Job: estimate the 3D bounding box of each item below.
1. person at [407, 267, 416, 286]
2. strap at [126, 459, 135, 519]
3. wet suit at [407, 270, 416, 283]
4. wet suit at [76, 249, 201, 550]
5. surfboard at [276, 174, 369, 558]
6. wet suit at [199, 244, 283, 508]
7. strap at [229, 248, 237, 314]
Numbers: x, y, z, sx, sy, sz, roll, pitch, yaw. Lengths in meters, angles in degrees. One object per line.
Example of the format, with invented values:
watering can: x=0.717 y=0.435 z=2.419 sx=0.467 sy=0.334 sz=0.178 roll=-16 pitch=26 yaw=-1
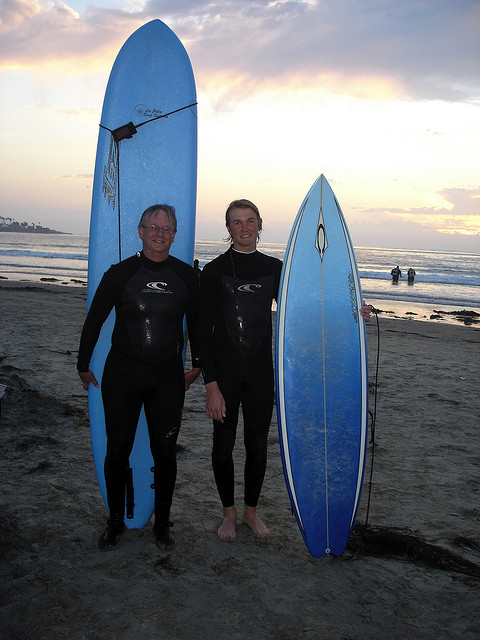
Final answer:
person: x=8.126 y=-2.002 z=26.541 sx=0.303 sy=0.747 sz=1.475 roll=4 pitch=7 yaw=17
strap: x=-0.510 y=0.768 z=2.589 sx=0.042 sy=0.263 sz=0.021 roll=-5 pitch=-4 yaw=29
wet suit: x=8.189 y=-2.047 z=26.721 sx=0.469 sy=0.824 sz=0.228 roll=0 pitch=0 yaw=8
wet suit: x=-0.435 y=0.339 z=2.436 sx=0.526 sy=1.257 sz=0.279 roll=0 pitch=7 yaw=-18
surfboard: x=0.410 y=0.129 z=2.705 sx=0.444 sy=1.680 sz=0.811 roll=4 pitch=7 yaw=13
wet suit: x=-0.010 y=0.259 z=2.573 sx=0.376 sy=1.183 sz=0.377 roll=3 pitch=6 yaw=2
strap: x=-0.028 y=-0.159 z=2.526 sx=0.013 sy=0.359 sz=0.048 roll=0 pitch=-9 yaw=-22
